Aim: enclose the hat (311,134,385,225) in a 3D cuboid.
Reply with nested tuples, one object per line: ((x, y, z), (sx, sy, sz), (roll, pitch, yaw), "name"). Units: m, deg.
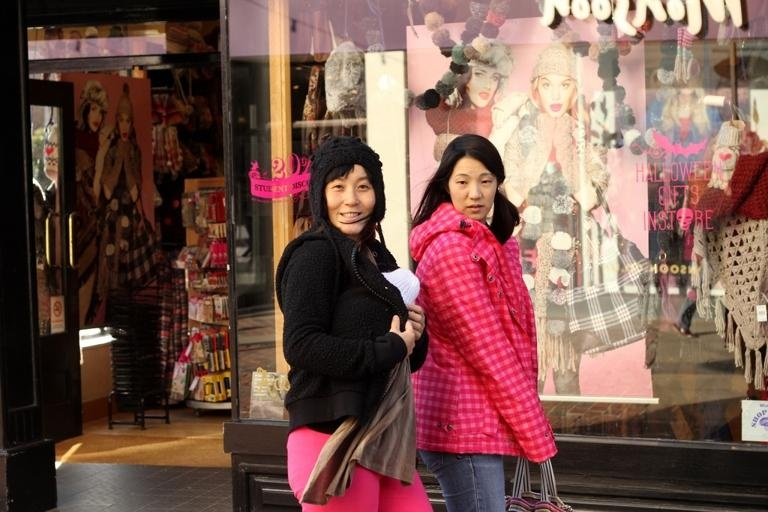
((-0.199, -0.348, 3.710), (0.340, 0.479, 0.378), (0, -10, -6), "hat")

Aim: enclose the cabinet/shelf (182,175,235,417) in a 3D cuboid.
((-1.918, 0.421, 8.495), (0.826, 2.559, 0.379), (0, 1, 37), "cabinet/shelf")

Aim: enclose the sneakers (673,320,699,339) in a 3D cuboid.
((1.983, 0.482, 5.158), (0.091, 0.125, 0.099), (5, -20, -33), "sneakers")
